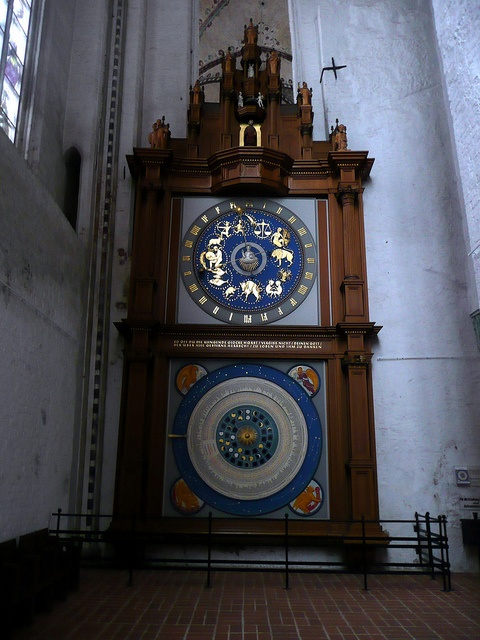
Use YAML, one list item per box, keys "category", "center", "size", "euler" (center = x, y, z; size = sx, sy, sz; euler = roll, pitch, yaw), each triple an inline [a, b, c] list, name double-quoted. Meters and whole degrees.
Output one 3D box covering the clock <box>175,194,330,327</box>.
- category: "clock"
  center: [0.129, -0.616, 7.080]
  size: [1.178, 1.515, 0.162]
  euler: [1, -18, 0]
